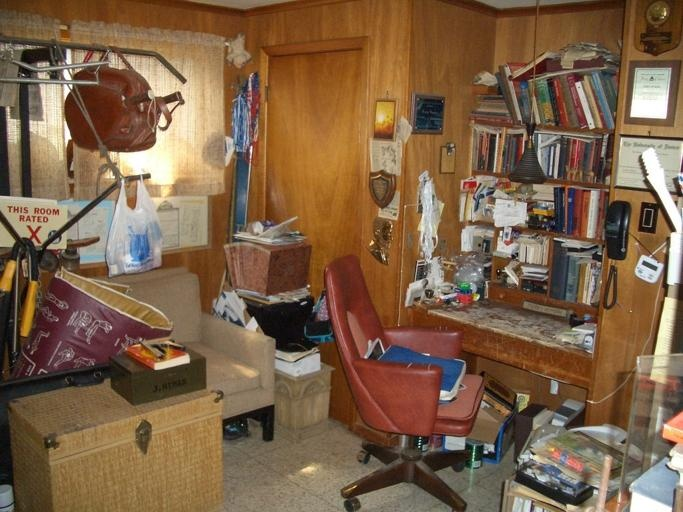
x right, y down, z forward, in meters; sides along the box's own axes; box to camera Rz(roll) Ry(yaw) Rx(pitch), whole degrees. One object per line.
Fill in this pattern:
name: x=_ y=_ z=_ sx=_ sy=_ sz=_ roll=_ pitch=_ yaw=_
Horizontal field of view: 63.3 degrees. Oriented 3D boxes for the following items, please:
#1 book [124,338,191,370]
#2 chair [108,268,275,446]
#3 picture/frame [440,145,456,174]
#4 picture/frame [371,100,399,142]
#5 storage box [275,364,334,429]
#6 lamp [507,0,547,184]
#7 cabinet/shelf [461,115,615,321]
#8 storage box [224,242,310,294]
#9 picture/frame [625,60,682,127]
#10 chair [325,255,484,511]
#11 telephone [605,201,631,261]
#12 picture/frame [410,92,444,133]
book: x=-0.952 y=0.515 z=2.916 sx=0.190 sy=0.049 sz=0.195 roll=-5 pitch=15 yaw=-41
chair: x=-0.957 y=0.596 z=4.202 sx=0.947 sy=1.219 sz=1.283 roll=-10 pitch=18 yaw=-39
picture/frame: x=0.769 y=-0.713 z=3.998 sx=0.044 sy=0.216 sz=0.187 roll=13 pitch=17 yaw=40
picture/frame: x=0.297 y=-0.923 z=3.727 sx=0.032 sy=0.317 sz=0.230 roll=-13 pitch=24 yaw=-40
storage box: x=-0.276 y=0.986 z=4.092 sx=0.387 sy=0.442 sz=0.442 roll=-4 pitch=10 yaw=-30
lamp: x=1.295 y=-1.100 z=3.672 sx=0.219 sy=1.245 sz=0.767 roll=6 pitch=14 yaw=19
cabinet/shelf: x=1.384 y=-0.299 z=3.839 sx=0.403 sy=1.260 sz=1.320 roll=-4 pitch=7 yaw=-34
storage box: x=-0.523 y=0.008 z=4.188 sx=0.447 sy=0.303 sz=0.439 roll=-6 pitch=11 yaw=-35
picture/frame: x=1.646 y=-0.871 z=2.906 sx=0.303 sy=0.433 sz=0.034 roll=13 pitch=15 yaw=40
chair: x=0.420 y=0.658 z=3.933 sx=1.319 sy=1.859 sz=1.308 roll=2 pitch=6 yaw=16
telephone: x=1.445 y=-0.146 z=2.902 sx=0.108 sy=0.304 sz=0.211 roll=9 pitch=28 yaw=25
picture/frame: x=0.577 y=-0.980 z=3.740 sx=0.283 sy=0.263 sz=0.065 roll=-9 pitch=16 yaw=-42
